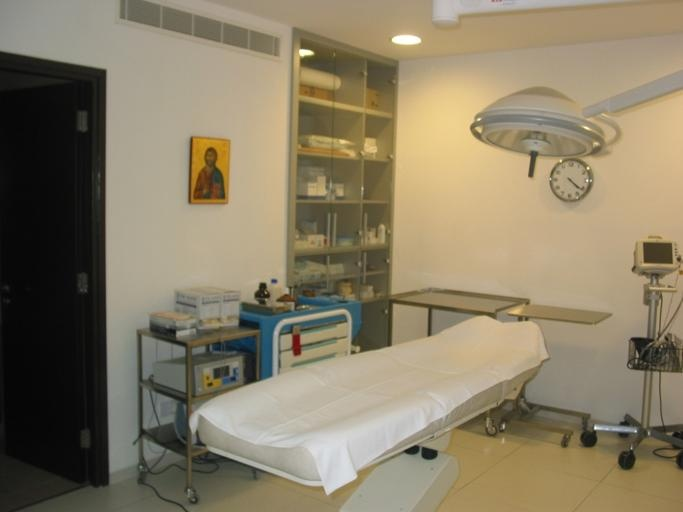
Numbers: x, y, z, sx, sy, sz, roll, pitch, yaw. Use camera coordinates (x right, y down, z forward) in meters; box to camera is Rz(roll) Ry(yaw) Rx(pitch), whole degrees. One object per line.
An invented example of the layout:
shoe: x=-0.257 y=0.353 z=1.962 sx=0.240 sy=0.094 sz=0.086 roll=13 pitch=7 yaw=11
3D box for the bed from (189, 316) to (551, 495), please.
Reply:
bed: x=0.298 y=0.673 z=2.979 sx=0.854 sy=0.316 sz=1.812 roll=3 pitch=7 yaw=41

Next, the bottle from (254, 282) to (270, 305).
bottle: x=-0.577 y=0.277 z=4.100 sx=0.096 sy=0.190 sz=0.146 roll=-2 pitch=-2 yaw=33

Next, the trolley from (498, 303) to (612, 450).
trolley: x=1.605 y=0.948 z=4.417 sx=0.693 sy=0.877 sz=0.500 roll=2 pitch=3 yaw=40

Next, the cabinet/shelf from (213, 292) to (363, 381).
cabinet/shelf: x=-0.280 y=0.653 z=4.136 sx=0.829 sy=0.580 sz=0.523 roll=-7 pitch=5 yaw=-29

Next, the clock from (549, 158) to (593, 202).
clock: x=1.827 y=-0.602 z=4.497 sx=0.332 sy=0.363 sz=0.049 roll=-6 pitch=-1 yaw=39

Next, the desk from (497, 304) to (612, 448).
desk: x=1.605 y=0.935 z=4.399 sx=0.735 sy=0.870 sz=0.544 roll=2 pitch=3 yaw=34
